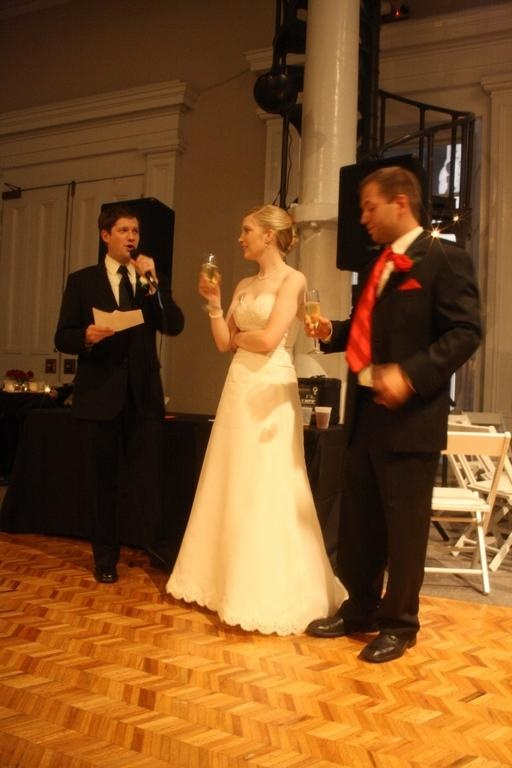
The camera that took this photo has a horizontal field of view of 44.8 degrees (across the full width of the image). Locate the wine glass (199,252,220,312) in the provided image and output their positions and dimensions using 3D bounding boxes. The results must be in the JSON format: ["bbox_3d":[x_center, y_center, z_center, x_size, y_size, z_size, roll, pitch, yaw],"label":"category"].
[{"bbox_3d":[-0.166,-0.377,2.282,0.065,0.244,0.059,5,-29,-13],"label":"wine glass"}]

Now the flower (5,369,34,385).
[{"bbox_3d":[-2.310,-0.096,6.031,0.209,0.171,0.230,1,-17,-8],"label":"flower"}]

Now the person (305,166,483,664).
[{"bbox_3d":[0.461,0.105,2.145,0.630,1.651,0.425,0,-4,35],"label":"person"}]

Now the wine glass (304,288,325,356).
[{"bbox_3d":[0.204,-0.213,2.183,0.068,0.225,0.070,2,0,26],"label":"wine glass"}]

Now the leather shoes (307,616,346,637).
[{"bbox_3d":[0.259,0.881,2.285,0.123,0.061,0.067,7,-9,-19],"label":"leather shoes"}]

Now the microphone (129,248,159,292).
[{"bbox_3d":[-0.496,-0.551,2.739,0.065,0.099,0.395,-9,40,-10],"label":"microphone"}]

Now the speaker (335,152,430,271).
[{"bbox_3d":[0.682,-0.915,3.507,0.376,0.597,0.340,-3,-12,30],"label":"speaker"}]

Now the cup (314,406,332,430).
[{"bbox_3d":[0.311,0.154,2.938,0.084,0.106,0.086,2,1,0],"label":"cup"}]
